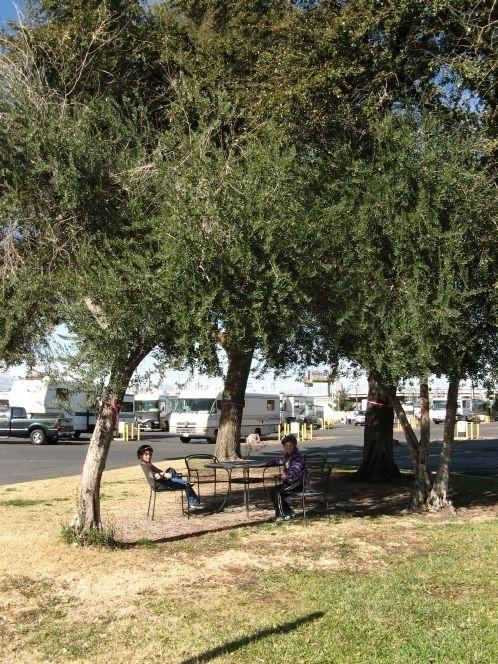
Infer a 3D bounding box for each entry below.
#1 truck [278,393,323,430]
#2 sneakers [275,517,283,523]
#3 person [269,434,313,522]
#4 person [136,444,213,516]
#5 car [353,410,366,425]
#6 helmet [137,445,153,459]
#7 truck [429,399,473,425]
[{"bbox_3d":[3.902,5.788,49.350,2.025,3.157,5.969,-3,-3,34],"label":"truck"},{"bbox_3d":[0.424,2.604,9.258,0.100,0.044,0.186,0,-7,3],"label":"sneakers"},{"bbox_3d":[0.572,2.047,9.417,0.410,1.184,0.532,1,-5,-15],"label":"person"},{"bbox_3d":[-1.158,2.099,9.565,0.399,0.967,1.218,-2,-6,23],"label":"person"},{"bbox_3d":[9.862,7.674,58.964,0.831,1.286,3.203,-1,-7,7],"label":"car"},{"bbox_3d":[-1.451,1.672,9.294,0.165,0.194,0.506,1,-7,-7],"label":"helmet"},{"bbox_3d":[18.051,6.906,59.112,3.037,2.297,11.132,-2,-7,22],"label":"truck"}]
